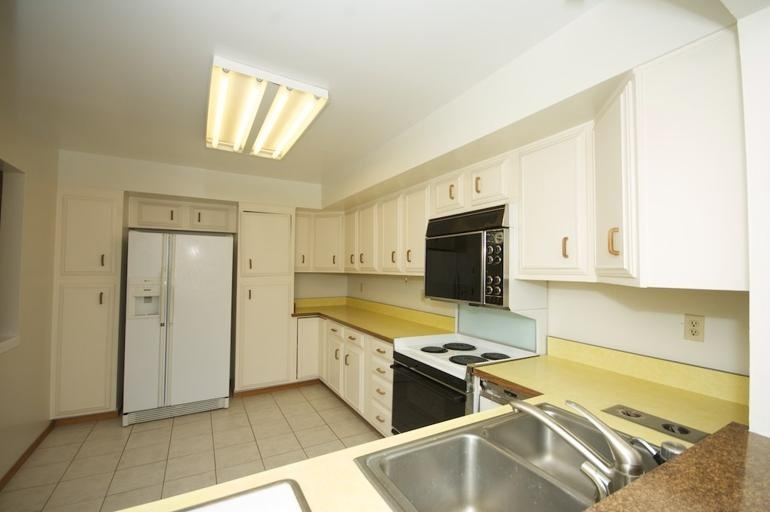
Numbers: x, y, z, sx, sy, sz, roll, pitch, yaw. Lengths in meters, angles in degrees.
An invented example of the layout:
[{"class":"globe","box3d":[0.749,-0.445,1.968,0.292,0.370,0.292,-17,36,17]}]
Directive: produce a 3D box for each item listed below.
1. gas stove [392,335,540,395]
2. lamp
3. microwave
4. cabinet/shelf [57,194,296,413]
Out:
[{"class":"gas stove","box3d":[0.621,0.828,4.062,0.756,0.211,1.009,0,2,-33]},{"class":"lamp","box3d":[-1.015,-1.131,3.894,0.558,0.120,0.748,8,-23,-25]},{"class":"microwave","box3d":[0.633,0.112,3.982,0.511,0.565,0.880,5,-7,-31]},{"class":"cabinet/shelf","box3d":[-2.194,0.513,5.085,2.288,2.050,0.654,2,-7,-28]}]
